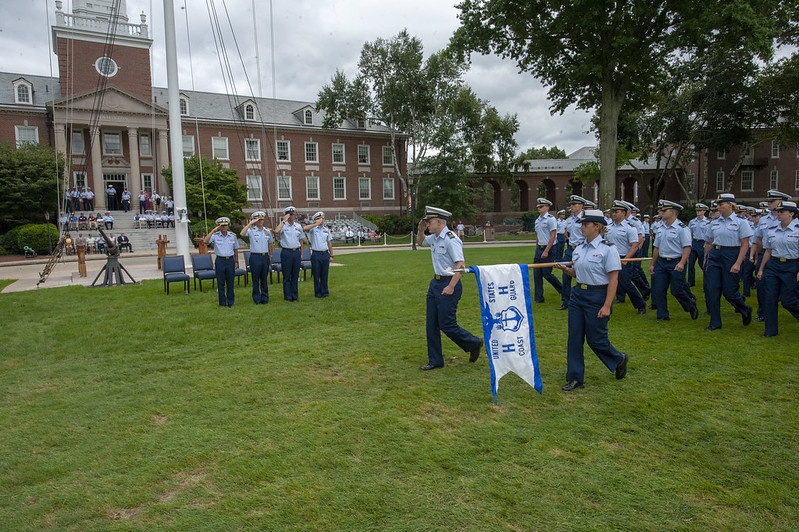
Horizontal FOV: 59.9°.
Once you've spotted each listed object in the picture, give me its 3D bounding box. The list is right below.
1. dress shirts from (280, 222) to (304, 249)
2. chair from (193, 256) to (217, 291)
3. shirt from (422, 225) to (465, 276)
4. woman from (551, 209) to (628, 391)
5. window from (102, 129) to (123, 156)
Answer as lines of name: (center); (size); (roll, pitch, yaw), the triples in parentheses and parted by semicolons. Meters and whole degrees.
dress shirts: (-3.303, -0.946, 21.264); (0.888, 0.805, 0.473); (1, -2, -12)
chair: (-6.303, 0.202, 22.639); (0.902, 1.060, 0.902); (-5, 8, -23)
shirt: (0.969, -0.329, 15.610); (0.483, 1.081, 1.319); (-12, 12, -37)
woman: (4.096, 0.728, 14.750); (1.181, 3.794, 0.681); (-1, 6, 15)
window: (-19.574, -8.455, 47.205); (0.156, 2.099, 1.913); (-1, 2, 41)
